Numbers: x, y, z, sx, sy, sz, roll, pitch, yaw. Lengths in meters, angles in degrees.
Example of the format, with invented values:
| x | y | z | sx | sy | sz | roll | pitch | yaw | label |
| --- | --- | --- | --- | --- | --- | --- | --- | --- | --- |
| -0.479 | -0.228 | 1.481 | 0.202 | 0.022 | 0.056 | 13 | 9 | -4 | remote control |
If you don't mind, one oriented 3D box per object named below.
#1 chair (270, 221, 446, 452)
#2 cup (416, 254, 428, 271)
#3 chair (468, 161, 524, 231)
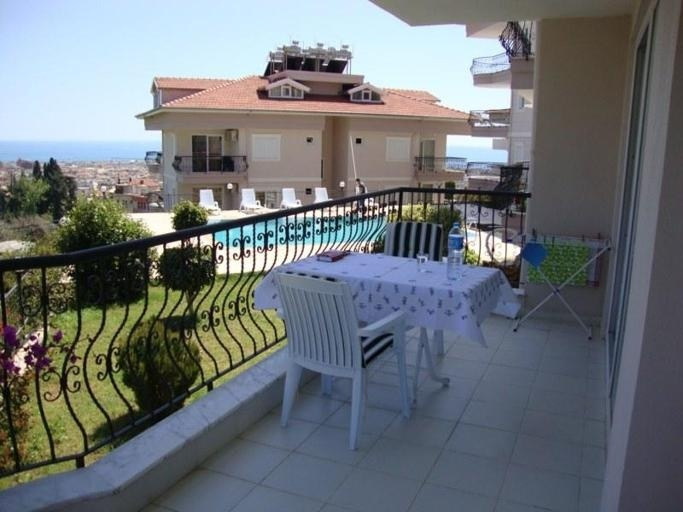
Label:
| x | y | z | sx | sy | sz | roll | pitch | yaw | label |
| --- | --- | --- | --- | --- | --- | --- | --- | --- | --- |
| -0.073 | 0.522 | 4.173 | 0.993 | 1.759 | 1.145 | 10 | 20 | 33 | chair |
| 0.688 | 0.065 | 4.431 | 0.101 | 0.179 | 0.116 | 1 | 3 | 17 | cup |
| 5.769 | -2.554 | 19.121 | 1.881 | 2.215 | 1.219 | -2 | 12 | 12 | chair |
